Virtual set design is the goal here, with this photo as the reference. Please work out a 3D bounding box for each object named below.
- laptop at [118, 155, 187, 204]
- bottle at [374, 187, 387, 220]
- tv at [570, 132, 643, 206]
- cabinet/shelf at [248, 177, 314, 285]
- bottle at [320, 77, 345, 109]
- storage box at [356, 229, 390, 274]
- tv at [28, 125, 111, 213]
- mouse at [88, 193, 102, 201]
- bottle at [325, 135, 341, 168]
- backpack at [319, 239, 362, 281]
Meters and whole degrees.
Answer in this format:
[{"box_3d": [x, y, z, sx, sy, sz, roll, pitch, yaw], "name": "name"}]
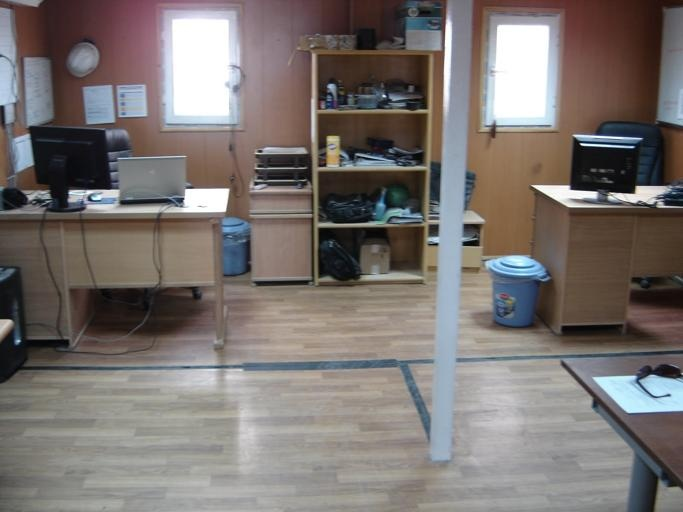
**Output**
[{"box_3d": [-1.461, -0.590, 4.641, 0.582, 0.358, 0.380, 0, 19, -12], "name": "laptop"}, {"box_3d": [0.388, -0.520, 6.098, 0.132, 0.309, 0.178, -1, 15, 7], "name": "bottle"}, {"box_3d": [2.144, -0.685, 4.910, 0.744, 0.663, 0.244, 5, 20, 16], "name": "tv"}, {"box_3d": [-0.593, -0.203, 5.880, 0.814, 1.065, 0.927, -1, 12, -1], "name": "cabinet/shelf"}, {"box_3d": [-0.089, -1.596, 5.927, 0.221, 0.296, 0.400, -3, 15, 0], "name": "bottle"}, {"box_3d": [0.307, -0.155, 6.300, 0.429, 0.401, 0.629, -1, 16, -1], "name": "storage box"}, {"box_3d": [-2.076, -0.654, 4.622, 0.774, 0.753, 0.387, 4, 18, 0], "name": "tv"}, {"box_3d": [-2.007, -0.475, 4.920, 0.106, 0.024, 0.111, -6, 19, -27], "name": "mouse"}, {"box_3d": [-0.082, -1.020, 5.885, 0.153, 0.285, 0.242, -3, 15, -1], "name": "bottle"}, {"box_3d": [-0.047, 0.046, 6.003, 0.388, 0.380, 0.161, 6, 18, 30], "name": "backpack"}]
